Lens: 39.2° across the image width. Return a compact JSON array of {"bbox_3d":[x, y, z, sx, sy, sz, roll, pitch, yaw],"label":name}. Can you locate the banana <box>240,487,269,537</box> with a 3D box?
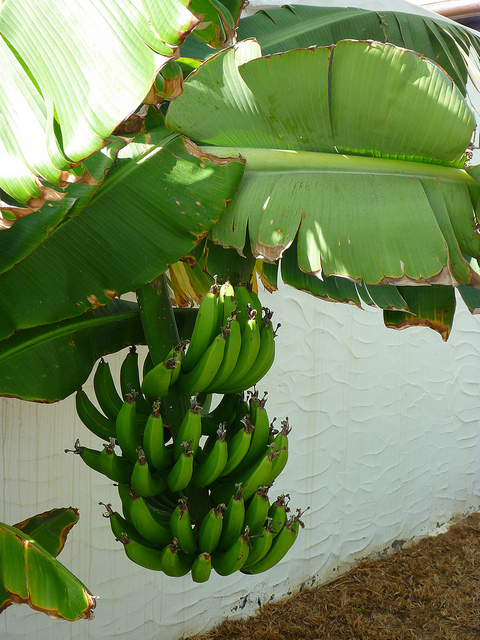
[{"bbox_3d":[0.026,0.371,1.348,0.033,0.136,0.048,15,14,33],"label":"banana"}]

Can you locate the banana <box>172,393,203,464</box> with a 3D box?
[{"bbox_3d":[-0.089,0.198,1.259,0.033,0.131,0.034,1,22,1],"label":"banana"}]

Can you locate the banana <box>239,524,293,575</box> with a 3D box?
[{"bbox_3d":[0.051,0.490,1.397,0.144,0.067,0.031,-25,14,-2],"label":"banana"}]

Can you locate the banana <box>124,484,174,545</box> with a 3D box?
[{"bbox_3d":[-0.181,0.380,1.307,0.036,0.157,0.058,-17,33,6],"label":"banana"}]

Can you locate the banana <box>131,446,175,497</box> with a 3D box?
[{"bbox_3d":[-0.162,0.271,1.261,0.034,0.141,0.086,23,35,25],"label":"banana"}]

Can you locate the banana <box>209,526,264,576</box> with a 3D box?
[{"bbox_3d":[-0.007,0.442,1.303,0.076,0.095,0.234,-8,-13,-8],"label":"banana"}]

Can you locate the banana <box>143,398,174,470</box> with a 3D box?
[{"bbox_3d":[-0.148,0.214,1.265,0.061,0.182,0.032,-26,45,-22],"label":"banana"}]

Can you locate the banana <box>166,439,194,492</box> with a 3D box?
[{"bbox_3d":[-0.109,0.276,1.247,0.040,0.121,0.041,13,41,-7],"label":"banana"}]

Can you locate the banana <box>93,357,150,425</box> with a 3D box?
[{"bbox_3d":[-0.269,0.162,1.511,0.038,0.220,0.068,-12,-9,-37],"label":"banana"}]

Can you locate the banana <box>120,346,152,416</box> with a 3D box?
[{"bbox_3d":[-0.239,0.146,1.555,0.060,0.171,0.033,-32,41,-22],"label":"banana"}]

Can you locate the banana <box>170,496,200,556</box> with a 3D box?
[{"bbox_3d":[-0.101,0.392,1.298,0.035,0.153,0.056,-7,18,-2],"label":"banana"}]

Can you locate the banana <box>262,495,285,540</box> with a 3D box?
[{"bbox_3d":[0.074,0.398,1.371,0.032,0.046,0.120,3,8,8],"label":"banana"}]

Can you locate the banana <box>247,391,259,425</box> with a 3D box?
[{"bbox_3d":[0.027,0.182,1.376,0.021,0.079,0.023,8,-32,3],"label":"banana"}]

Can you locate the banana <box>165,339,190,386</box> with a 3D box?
[{"bbox_3d":[-0.107,0.079,1.307,0.040,0.070,0.175,14,-1,-4],"label":"banana"}]

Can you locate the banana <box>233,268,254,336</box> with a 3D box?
[{"bbox_3d":[0.006,-0.035,1.323,0.028,0.143,0.051,2,-23,-8],"label":"banana"}]

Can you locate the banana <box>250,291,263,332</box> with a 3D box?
[{"bbox_3d":[0.034,-0.018,1.359,0.018,0.084,0.026,-3,5,8],"label":"banana"}]

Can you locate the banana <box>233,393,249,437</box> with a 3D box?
[{"bbox_3d":[0.010,0.200,1.457,0.023,0.107,0.033,14,-19,-22],"label":"banana"}]

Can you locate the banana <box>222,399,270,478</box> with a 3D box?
[{"bbox_3d":[-0.004,0.275,1.423,0.046,0.225,0.095,9,40,-11],"label":"banana"}]

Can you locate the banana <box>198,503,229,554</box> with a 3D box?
[{"bbox_3d":[-0.052,0.397,1.278,0.047,0.142,0.041,-10,44,-21],"label":"banana"}]

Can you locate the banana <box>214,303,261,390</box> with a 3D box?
[{"bbox_3d":[-0.004,0.057,1.324,0.039,0.190,0.068,10,0,10],"label":"banana"}]

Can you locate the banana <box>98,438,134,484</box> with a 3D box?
[{"bbox_3d":[-0.259,0.279,1.350,0.037,0.096,0.127,9,-2,-8],"label":"banana"}]

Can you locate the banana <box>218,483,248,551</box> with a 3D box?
[{"bbox_3d":[-0.013,0.396,1.298,0.038,0.186,0.055,-2,21,-14],"label":"banana"}]

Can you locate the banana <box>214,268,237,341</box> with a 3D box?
[{"bbox_3d":[-0.026,-0.028,1.282,0.026,0.127,0.042,3,-21,3],"label":"banana"}]

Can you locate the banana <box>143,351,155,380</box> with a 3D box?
[{"bbox_3d":[-0.213,0.106,1.574,0.021,0.095,0.026,-7,10,-44],"label":"banana"}]

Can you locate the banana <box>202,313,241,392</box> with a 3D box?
[{"bbox_3d":[-0.039,0.069,1.294,0.034,0.178,0.063,10,14,4],"label":"banana"}]

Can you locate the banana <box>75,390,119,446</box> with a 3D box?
[{"bbox_3d":[-0.319,0.209,1.464,0.053,0.172,0.042,-29,45,12],"label":"banana"}]

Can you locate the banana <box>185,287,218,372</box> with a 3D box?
[{"bbox_3d":[-0.086,0.050,1.313,0.038,0.208,0.067,12,17,5],"label":"banana"}]

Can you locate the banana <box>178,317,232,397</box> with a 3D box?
[{"bbox_3d":[-0.064,0.076,1.287,0.064,0.079,0.222,-23,-12,-17],"label":"banana"}]
